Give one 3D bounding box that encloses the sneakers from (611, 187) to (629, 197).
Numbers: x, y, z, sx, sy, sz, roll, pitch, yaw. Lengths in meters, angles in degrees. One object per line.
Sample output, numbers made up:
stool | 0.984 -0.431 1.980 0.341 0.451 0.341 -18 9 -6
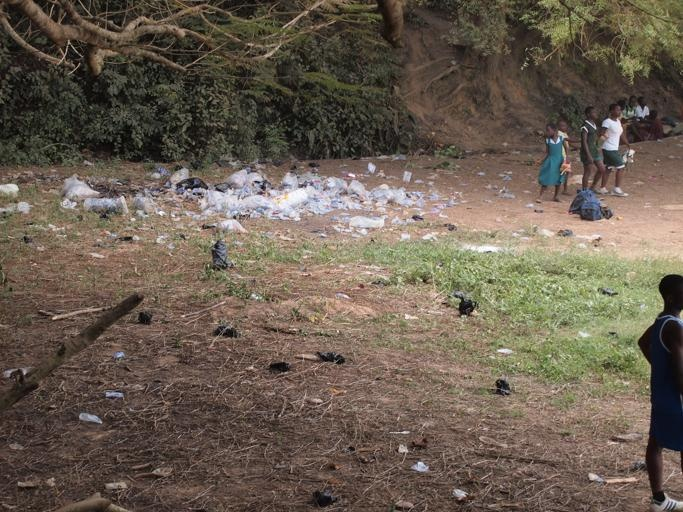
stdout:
sneakers | 5.740 -1.326 20.360 0.380 0.146 0.154 -4 16 -2
